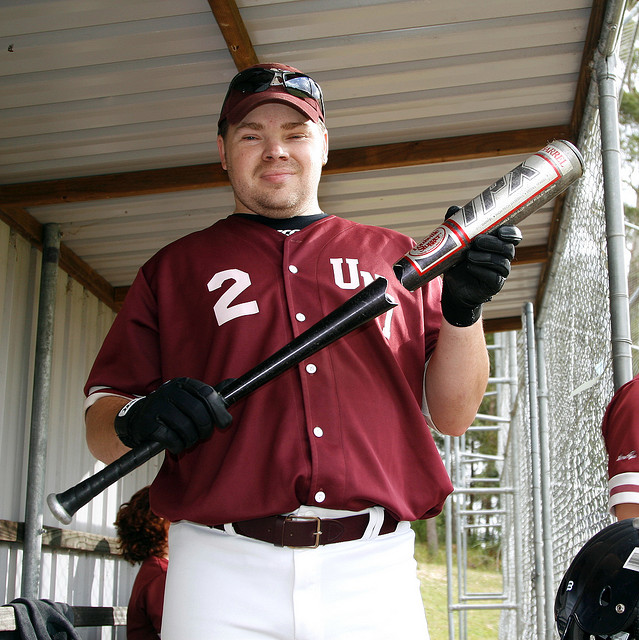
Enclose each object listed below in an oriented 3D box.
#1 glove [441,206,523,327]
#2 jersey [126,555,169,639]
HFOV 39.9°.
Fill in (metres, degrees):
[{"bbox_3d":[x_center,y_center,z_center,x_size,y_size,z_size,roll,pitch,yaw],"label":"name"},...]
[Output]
[{"bbox_3d":[0.470,-0.146,2.498,0.267,0.328,0.202,4,1,12],"label":"glove"},{"bbox_3d":[-1.099,1.759,5.555,0.268,0.511,0.521,-2,-18,-11],"label":"jersey"}]
